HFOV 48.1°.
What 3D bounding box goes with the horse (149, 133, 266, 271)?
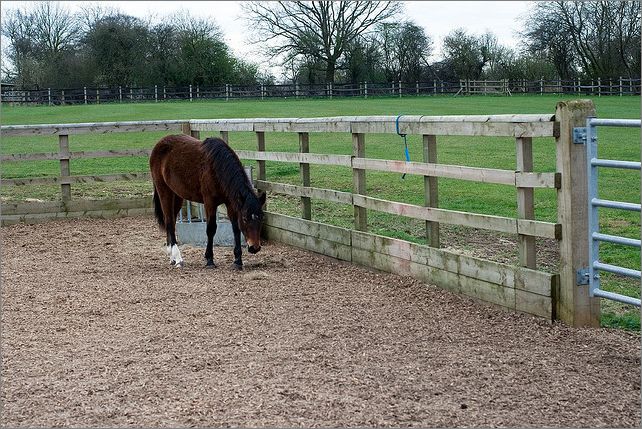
[{"bbox_3d":[-1.634,-0.178,9.804,0.692,1.770,2.894,-4,7,-39],"label":"horse"}]
